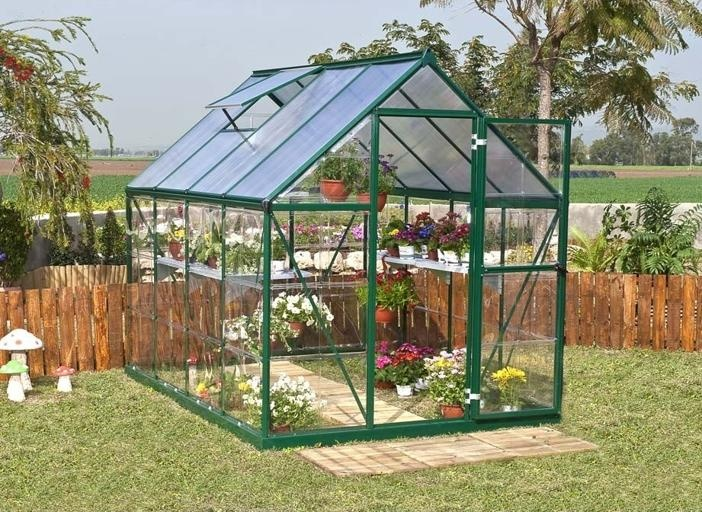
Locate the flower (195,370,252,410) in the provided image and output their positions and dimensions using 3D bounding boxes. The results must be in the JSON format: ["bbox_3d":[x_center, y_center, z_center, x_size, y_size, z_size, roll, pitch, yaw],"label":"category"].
[{"bbox_3d":[-1.665,1.687,12.607,0.685,0.265,0.462,12,10,39],"label":"flower"}]

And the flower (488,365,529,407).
[{"bbox_3d":[2.076,1.694,12.925,0.473,0.583,0.481,-3,4,-8],"label":"flower"}]

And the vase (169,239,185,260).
[{"bbox_3d":[-2.448,-0.105,13.474,0.238,0.283,0.249,0,-2,-5],"label":"vase"}]

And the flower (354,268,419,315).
[{"bbox_3d":[0.673,0.515,14.597,0.669,0.494,0.680,-3,1,-10],"label":"flower"}]

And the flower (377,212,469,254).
[{"bbox_3d":[1.187,-0.320,13.975,0.745,0.380,0.774,-4,8,-29],"label":"flower"}]

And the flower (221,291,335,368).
[{"bbox_3d":[-0.879,0.861,12.188,1.044,0.548,0.795,-5,7,-40],"label":"flower"}]

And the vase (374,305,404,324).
[{"bbox_3d":[0.540,0.880,14.510,0.348,0.235,0.366,-1,-2,23],"label":"vase"}]

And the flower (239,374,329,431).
[{"bbox_3d":[-0.905,1.692,12.054,0.699,0.477,0.746,8,7,44],"label":"flower"}]

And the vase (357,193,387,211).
[{"bbox_3d":[0.310,-0.756,13.068,0.276,0.214,0.292,0,2,8],"label":"vase"}]

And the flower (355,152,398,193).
[{"bbox_3d":[0.368,-1.186,12.940,0.612,0.463,0.610,-1,2,-30],"label":"flower"}]

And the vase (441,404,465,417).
[{"bbox_3d":[1.338,2.043,12.765,0.178,0.122,0.188,1,-5,-4],"label":"vase"}]

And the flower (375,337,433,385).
[{"bbox_3d":[0.709,1.545,14.045,0.649,0.494,0.618,0,0,5],"label":"flower"}]
